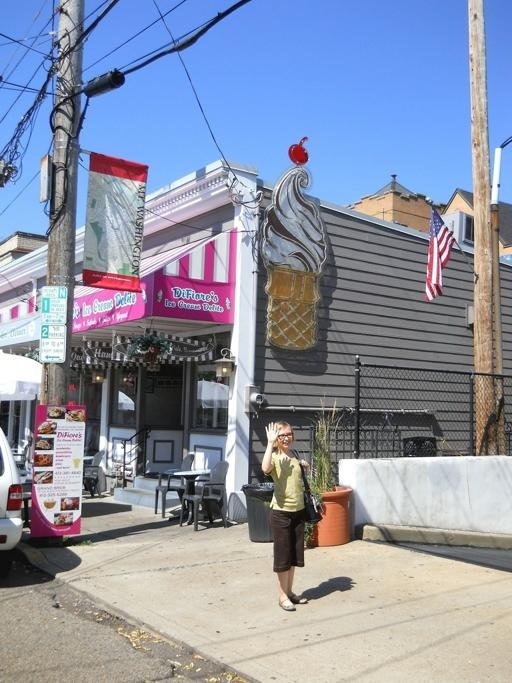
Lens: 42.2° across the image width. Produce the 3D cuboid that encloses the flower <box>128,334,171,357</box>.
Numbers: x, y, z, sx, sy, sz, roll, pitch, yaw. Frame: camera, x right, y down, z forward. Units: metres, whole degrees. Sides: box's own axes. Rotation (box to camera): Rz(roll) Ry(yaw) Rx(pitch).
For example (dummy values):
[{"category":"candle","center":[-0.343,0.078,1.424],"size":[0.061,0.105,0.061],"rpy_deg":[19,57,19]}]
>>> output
[{"category":"flower","center":[-1.660,0.070,10.244],"size":[0.416,0.238,0.426],"rpy_deg":[0,-3,-14]}]

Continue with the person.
[{"category":"person","center":[0.233,1.436,5.543],"size":[0.501,1.412,0.445],"rpy_deg":[1,-7,-7]}]

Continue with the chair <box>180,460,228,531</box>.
[{"category":"chair","center":[-0.774,2.232,9.644],"size":[0.651,0.939,0.656],"rpy_deg":[3,-7,-9]}]

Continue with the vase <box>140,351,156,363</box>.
[{"category":"vase","center":[-1.673,0.247,10.249],"size":[0.174,0.135,0.178],"rpy_deg":[1,-3,9]}]

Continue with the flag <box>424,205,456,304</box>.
[{"category":"flag","center":[2.816,-1.375,10.215],"size":[0.404,1.595,0.935],"rpy_deg":[-2,-10,17]}]

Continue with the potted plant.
[{"category":"potted plant","center":[1.014,1.687,8.685],"size":[0.490,1.809,0.626],"rpy_deg":[0,-2,-20]}]

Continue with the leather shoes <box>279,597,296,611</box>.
[{"category":"leather shoes","center":[0.248,2.128,5.379],"size":[0.135,0.087,0.208],"rpy_deg":[1,-10,0]}]

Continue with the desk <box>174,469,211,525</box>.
[{"category":"desk","center":[-1.052,2.329,9.979],"size":[0.710,0.914,0.732],"rpy_deg":[3,-8,-14]}]
